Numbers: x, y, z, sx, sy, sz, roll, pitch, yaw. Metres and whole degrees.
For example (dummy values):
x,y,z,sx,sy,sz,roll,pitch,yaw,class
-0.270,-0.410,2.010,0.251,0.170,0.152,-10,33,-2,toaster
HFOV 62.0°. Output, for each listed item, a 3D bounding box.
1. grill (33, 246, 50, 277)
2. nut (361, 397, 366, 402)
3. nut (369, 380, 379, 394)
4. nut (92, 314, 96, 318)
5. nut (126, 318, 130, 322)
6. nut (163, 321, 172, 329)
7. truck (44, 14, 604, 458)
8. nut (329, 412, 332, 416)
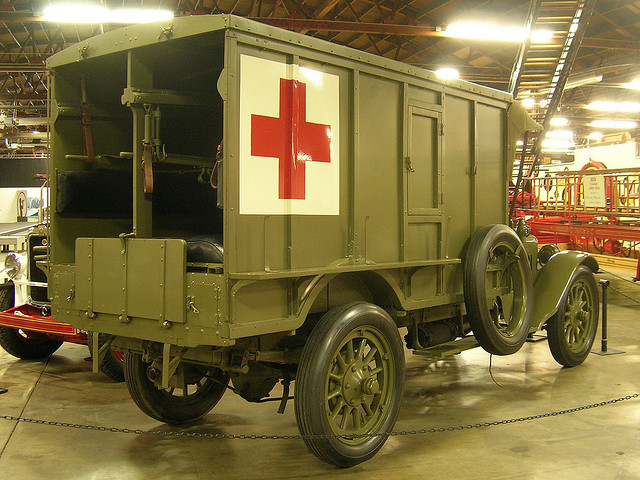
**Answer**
x,y,z,sx,sy,sz,roll,pitch,yaw,class
-3.002,0.198,5.715,0.122,0.380,2.255,-3,5,-28,grill
0.356,1.324,4.378,0.039,0.045,0.013,-2,4,-20,nut
0.441,1.209,4.344,0.083,0.092,0.089,-2,0,38,nut
-1.860,0.634,4.370,0.027,0.028,0.014,-1,4,-6,nut
-1.510,0.635,4.174,0.020,0.036,0.020,7,-9,-11,nut
-1.146,0.646,3.976,0.075,0.062,0.022,1,4,23,nut
0.284,-0.078,5.906,3.401,3.189,5.429,2,5,44,truck
0.083,1.369,4.176,0.017,0.031,0.031,-4,-5,35,nut
